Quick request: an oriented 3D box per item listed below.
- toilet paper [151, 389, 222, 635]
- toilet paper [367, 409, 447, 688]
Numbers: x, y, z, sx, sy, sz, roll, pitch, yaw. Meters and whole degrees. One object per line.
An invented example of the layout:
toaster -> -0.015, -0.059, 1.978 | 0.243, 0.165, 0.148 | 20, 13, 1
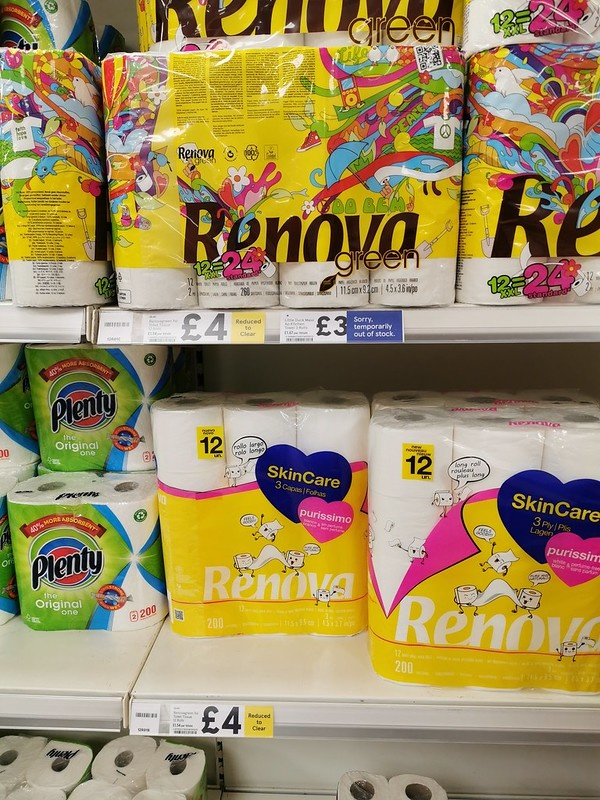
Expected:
toilet paper -> -0.197, 0.198, 1.229 | 0.121, 0.416, 0.154 | -3, 16, -8
toilet paper -> 0.196, 0.248, 1.055 | 0.174, 0.428, 0.077 | 1, 16, 4
